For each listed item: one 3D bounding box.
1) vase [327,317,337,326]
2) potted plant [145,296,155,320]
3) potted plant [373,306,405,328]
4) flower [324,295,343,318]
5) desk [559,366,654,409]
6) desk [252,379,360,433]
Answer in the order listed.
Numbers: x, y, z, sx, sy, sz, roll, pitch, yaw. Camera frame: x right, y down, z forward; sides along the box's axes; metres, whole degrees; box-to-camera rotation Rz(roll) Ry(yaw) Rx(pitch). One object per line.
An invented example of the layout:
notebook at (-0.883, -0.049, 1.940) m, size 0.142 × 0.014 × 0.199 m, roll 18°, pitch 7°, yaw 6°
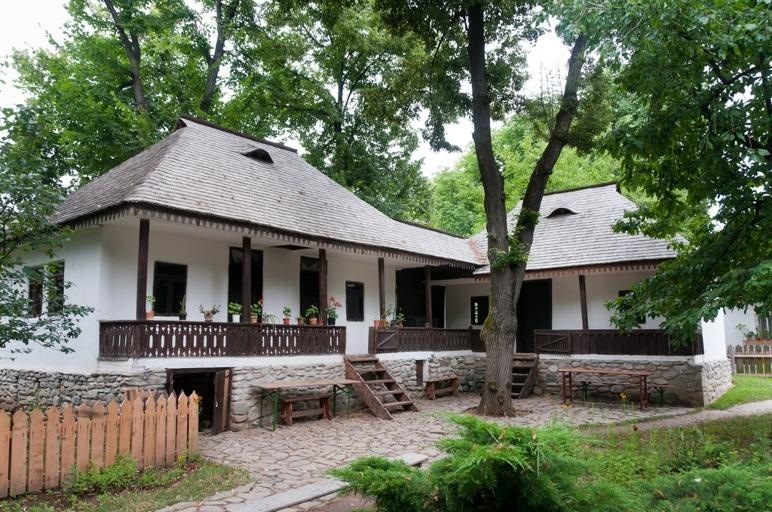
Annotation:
vase at (-2.137, 2.530, 22.517) m, size 0.288 × 0.214 × 0.301 m, roll -3°, pitch -15°, yaw 9°
potted plant at (-7.423, 1.618, 18.290) m, size 0.261 × 0.789 × 1.248 m, roll 2°, pitch -11°, yaw -22°
potted plant at (0.135, 2.661, 24.534) m, size 0.578 × 0.853 × 1.932 m, roll -4°, pitch -14°, yaw 27°
flower at (-2.100, 2.050, 23.021) m, size 0.739 × 0.795 × 0.612 m, roll 0°, pitch -12°, yaw 14°
desk at (8.274, 4.962, 21.990) m, size 3.184 × 1.360 × 1.120 m, roll -4°, pitch -3°, yaw 30°
desk at (-2.391, 4.672, 18.775) m, size 1.734 × 1.466 × 3.663 m, roll -11°, pitch -14°, yaw 41°
